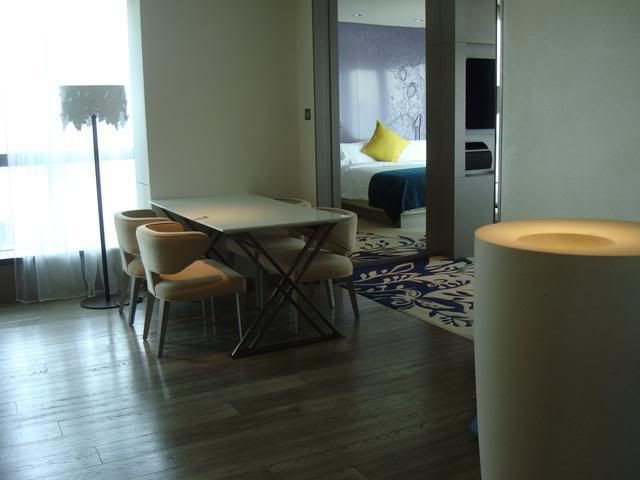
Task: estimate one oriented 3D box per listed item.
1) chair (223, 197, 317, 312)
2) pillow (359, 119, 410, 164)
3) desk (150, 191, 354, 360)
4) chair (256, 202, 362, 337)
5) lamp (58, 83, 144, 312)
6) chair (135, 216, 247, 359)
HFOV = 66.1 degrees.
[{"bbox_3d":[-0.381,0.010,4.484,0.863,1.070,0.976,-3,12,-22],"label":"chair"},{"bbox_3d":[0.778,-1.141,5.712,0.691,0.468,0.130,-13,17,-41],"label":"pillow"},{"bbox_3d":[-0.231,0.398,4.394,0.966,0.878,1.876,-9,-5,0],"label":"desk"},{"bbox_3d":[-0.073,0.110,4.065,0.833,1.061,1.006,-3,11,-23],"label":"chair"},{"bbox_3d":[-2.006,-0.537,4.438,0.448,1.669,0.460,0,5,31],"label":"lamp"},{"bbox_3d":[-0.911,0.163,3.753,0.876,1.077,0.907,-7,16,-32],"label":"chair"}]
